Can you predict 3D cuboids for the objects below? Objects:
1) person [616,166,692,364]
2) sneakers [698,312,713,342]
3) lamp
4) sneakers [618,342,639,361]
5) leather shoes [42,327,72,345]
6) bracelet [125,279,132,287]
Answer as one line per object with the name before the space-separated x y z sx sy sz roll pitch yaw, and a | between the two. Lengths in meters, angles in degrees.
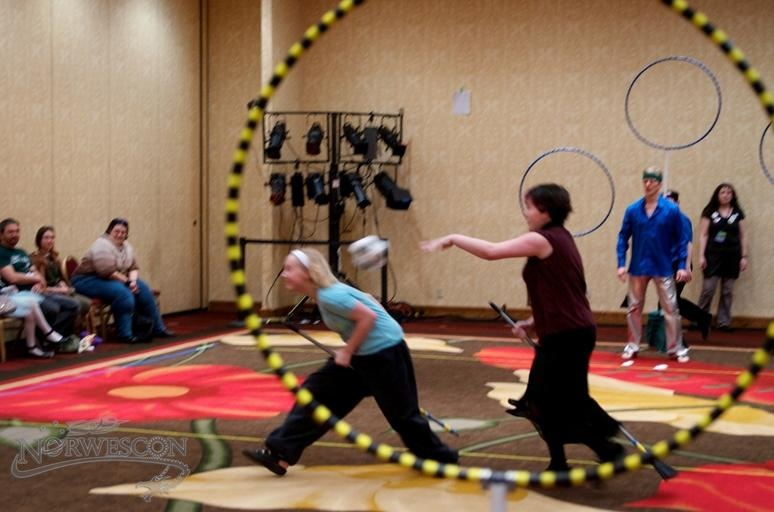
person | 2.988 0.102 7.499 0.797 2.147 0.334 3 8 17
sneakers | 4.075 0.904 8.627 0.133 0.360 0.262 10 5 9
lamp | -0.703 -1.373 10.209 1.553 1.285 0.418 0 -4 -6
sneakers | 2.791 1.089 7.703 0.175 0.110 0.337 5 13 18
leather shoes | -3.777 0.917 7.746 0.392 0.146 0.125 -3 8 26
bracelet | -3.283 0.342 8.491 0.048 0.065 0.018 11 8 11
